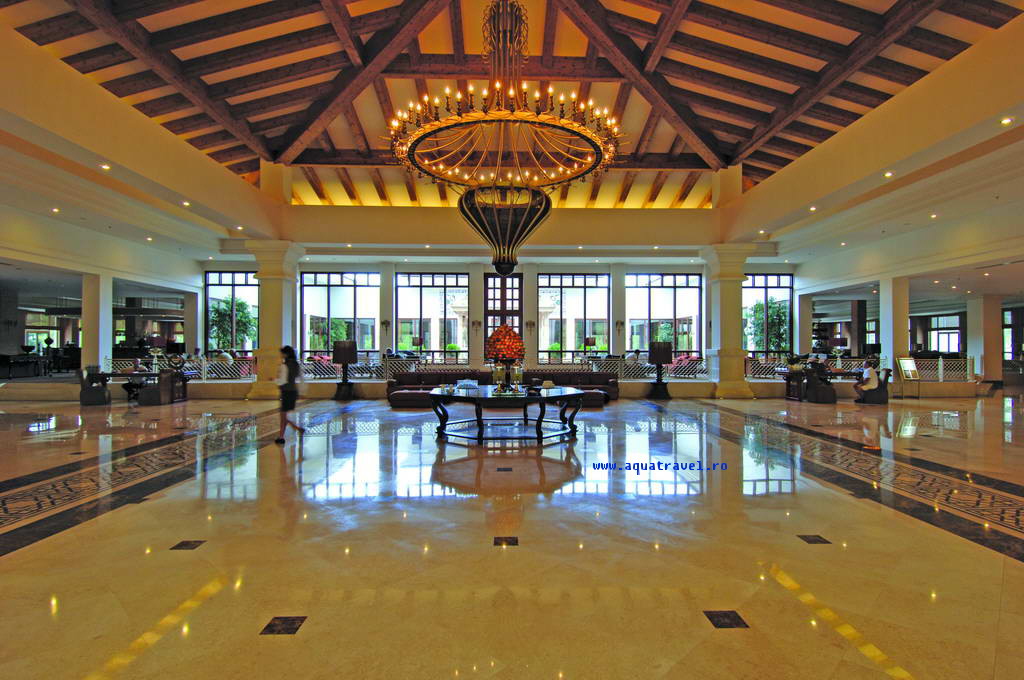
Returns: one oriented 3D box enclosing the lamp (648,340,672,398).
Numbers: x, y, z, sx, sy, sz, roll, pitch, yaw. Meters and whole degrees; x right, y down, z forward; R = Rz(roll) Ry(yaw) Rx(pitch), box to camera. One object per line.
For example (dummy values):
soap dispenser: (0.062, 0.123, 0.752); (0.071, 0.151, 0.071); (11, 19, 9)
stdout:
lamp: (3.786, 0.770, 16.923); (0.557, 1.413, 1.294); (2, 10, 12)

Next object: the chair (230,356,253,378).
chair: (-7.166, 0.782, 17.499); (0.524, 0.441, 2.134); (-4, 9, -20)

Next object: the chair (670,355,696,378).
chair: (5.118, 0.836, 19.653); (0.674, 0.490, 1.312); (-1, 8, -5)

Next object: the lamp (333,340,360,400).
lamp: (-4.205, 0.753, 16.622); (0.538, 1.441, 1.285); (-3, 10, -15)

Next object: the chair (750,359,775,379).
chair: (7.262, 0.869, 19.138); (0.732, 0.482, 1.915); (3, 9, 20)

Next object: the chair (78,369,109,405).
chair: (-9.546, 1.086, 15.013); (0.579, 0.851, 0.589); (-5, 11, -25)

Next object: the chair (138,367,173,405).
chair: (-8.126, 1.109, 15.020); (0.557, 0.718, 0.878); (-1, -2, 1)

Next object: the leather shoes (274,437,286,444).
leather shoes: (-3.724, 1.636, 10.544); (0.145, 0.070, 0.119); (1, -1, 3)

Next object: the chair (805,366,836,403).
chair: (7.267, 1.064, 15.487); (0.488, 0.902, 0.676); (-1, 10, -3)

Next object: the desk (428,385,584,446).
desk: (-0.130, 1.259, 11.548); (2.437, 0.964, 2.296); (0, 8, -2)
